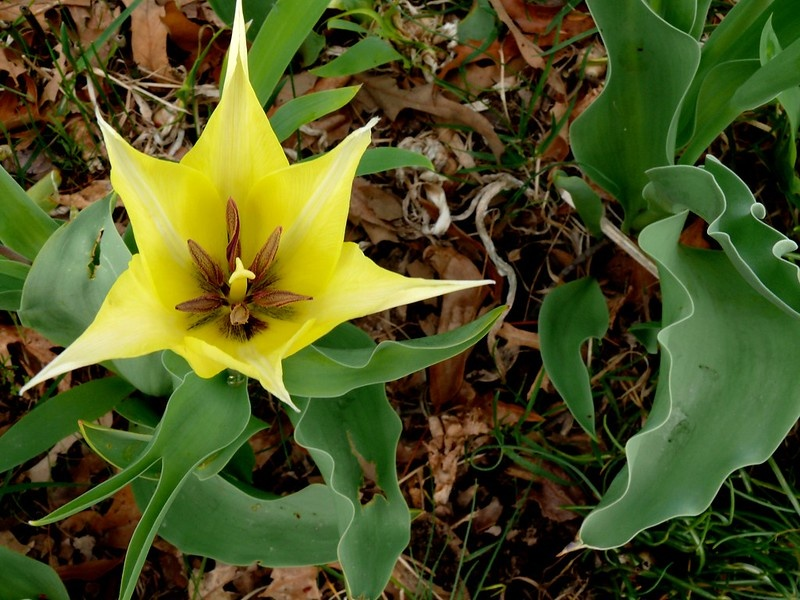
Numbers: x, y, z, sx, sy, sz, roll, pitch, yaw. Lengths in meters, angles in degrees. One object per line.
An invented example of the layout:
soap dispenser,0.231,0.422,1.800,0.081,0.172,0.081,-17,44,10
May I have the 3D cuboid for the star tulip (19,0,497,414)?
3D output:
star tulip,-0.336,-0.129,1.477,0.709,0.460,0.607,-26,57,-19
